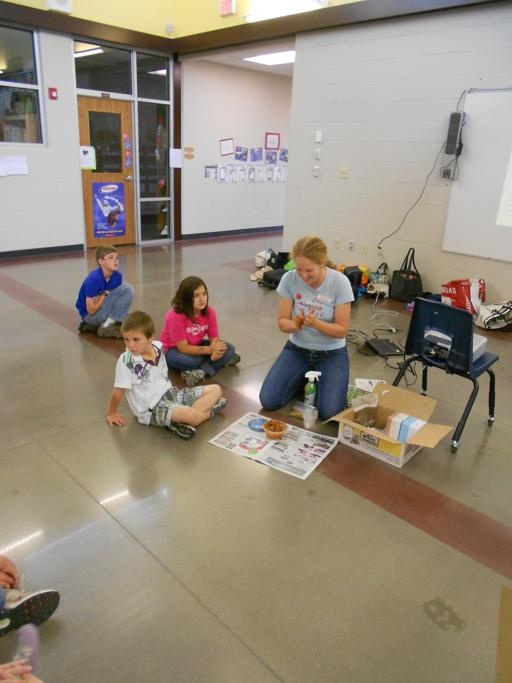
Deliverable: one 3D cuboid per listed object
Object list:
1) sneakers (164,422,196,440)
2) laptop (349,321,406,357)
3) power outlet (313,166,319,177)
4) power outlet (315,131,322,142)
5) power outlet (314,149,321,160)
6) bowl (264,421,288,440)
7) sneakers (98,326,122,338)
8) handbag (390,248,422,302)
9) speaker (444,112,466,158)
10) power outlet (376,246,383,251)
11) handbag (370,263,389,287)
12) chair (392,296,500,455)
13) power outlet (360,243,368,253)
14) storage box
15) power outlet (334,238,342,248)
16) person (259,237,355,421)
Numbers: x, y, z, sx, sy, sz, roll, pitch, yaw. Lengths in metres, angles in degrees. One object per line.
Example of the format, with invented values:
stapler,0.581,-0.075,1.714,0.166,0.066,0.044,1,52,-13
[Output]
sneakers,-0.391,0.458,2.635,0.122,0.071,0.044,19,17,18
laptop,0.967,-0.009,4.204,0.260,0.062,0.358,-10,33,-40
power outlet,0.735,-2.100,6.343,0.019,0.135,0.102,-16,28,-42
power outlet,0.744,-2.472,6.213,0.034,0.136,0.109,-16,29,-42
power outlet,0.732,-2.291,6.256,0.082,0.106,0.026,12,20,32
bowl,0.099,0.456,2.701,0.115,0.056,0.164,7,20,9
sneakers,-1.169,-0.081,4.093,0.145,0.065,0.089,-1,22,-2
handbag,1.665,-0.725,5.617,0.298,0.565,0.447,-4,22,-21
speaker,1.875,-2.000,4.923,0.094,0.340,0.234,-10,22,-39
power outlet,1.423,-1.080,5.947,0.050,0.051,0.050,0,6,-22
handbag,1.410,-0.791,5.867,0.211,0.211,0.316,8,21,11
chair,1.099,0.225,2.986,0.546,0.859,0.616,24,49,35
power outlet,1.276,-1.111,6.098,0.096,0.140,0.094,6,24,25
storage box,0.668,0.406,2.586,0.467,0.198,0.425,25,42,34
power outlet,1.003,-1.224,6.349,0.085,0.115,0.084,-22,36,-35
person,0.306,-0.087,2.938,0.552,0.948,0.640,20,31,40
